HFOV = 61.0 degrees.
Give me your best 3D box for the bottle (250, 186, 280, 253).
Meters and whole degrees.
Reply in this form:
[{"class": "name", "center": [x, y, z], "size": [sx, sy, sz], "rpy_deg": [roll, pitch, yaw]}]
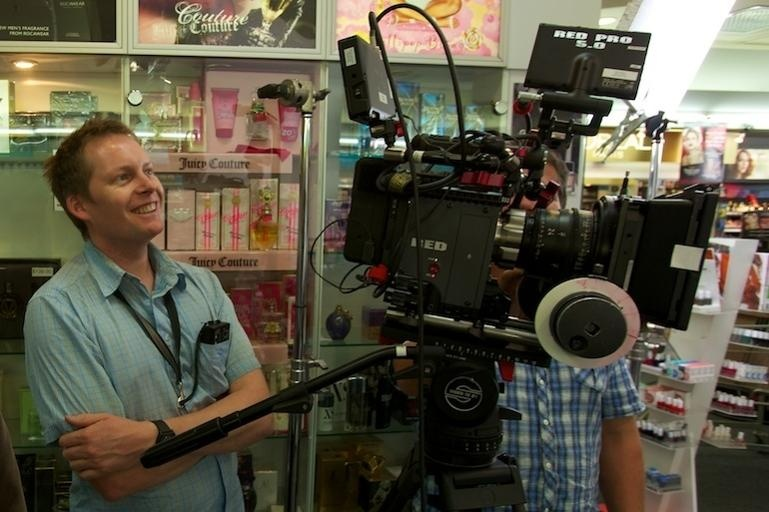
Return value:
[{"class": "bottle", "center": [-0.655, -0.228, 3.654], "size": [0.179, 0.402, 0.137], "rpy_deg": [1, 0, 7]}]
